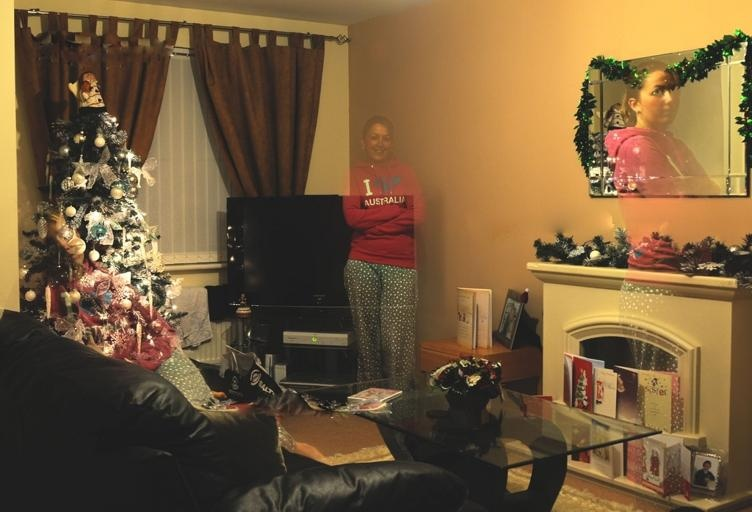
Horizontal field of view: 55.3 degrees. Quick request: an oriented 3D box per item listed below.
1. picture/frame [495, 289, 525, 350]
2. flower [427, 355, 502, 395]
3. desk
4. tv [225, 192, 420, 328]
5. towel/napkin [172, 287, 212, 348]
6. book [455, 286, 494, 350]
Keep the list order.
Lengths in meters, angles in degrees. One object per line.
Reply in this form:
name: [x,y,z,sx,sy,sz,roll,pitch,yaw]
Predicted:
picture/frame: [0.860,0.419,4.621,0.032,0.403,0.302,12,8,-16]
flower: [0.432,0.531,3.278,0.242,0.103,0.170,2,0,-41]
desk: [0.676,0.668,4.620,0.363,0.388,0.594,0,1,-30]
tv: [-0.350,0.037,5.175,0.986,0.692,0.134,0,4,3]
towel/napkin: [-1.337,0.452,5.317,0.134,0.412,0.400,5,12,43]
book: [0.631,0.410,4.623,0.168,0.375,0.374,1,-1,-21]
